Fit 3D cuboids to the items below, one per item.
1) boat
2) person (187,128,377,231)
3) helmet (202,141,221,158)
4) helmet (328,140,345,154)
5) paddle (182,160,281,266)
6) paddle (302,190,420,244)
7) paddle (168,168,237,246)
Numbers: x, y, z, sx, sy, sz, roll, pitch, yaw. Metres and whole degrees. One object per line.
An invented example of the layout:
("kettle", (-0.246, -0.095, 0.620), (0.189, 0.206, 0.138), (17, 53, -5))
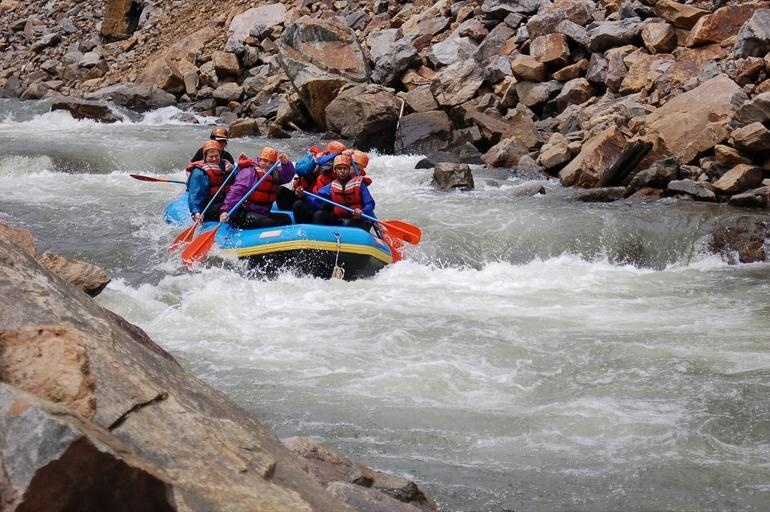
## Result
("boat", (-1.597, -0.308, 15.848), (2.410, 0.489, 1.281), (10, 20, 17))
("person", (-2.125, -1.182, 16.356), (1.624, 0.757, 2.427), (-21, 5, -42))
("helmet", (-3.009, -1.880, 16.685), (0.255, 0.237, 0.320), (0, -22, -13))
("helmet", (-0.837, -1.944, 17.069), (0.246, 0.160, 0.327), (7, 14, 14))
("paddle", (-2.573, -0.699, 16.171), (2.677, 0.309, 0.189), (-41, -5, -19))
("paddle", (-0.467, -0.660, 16.773), (2.327, 0.428, 0.247), (20, -36, -26))
("paddle", (-3.128, -0.820, 16.552), (0.378, 1.726, 0.174), (34, -15, 15))
